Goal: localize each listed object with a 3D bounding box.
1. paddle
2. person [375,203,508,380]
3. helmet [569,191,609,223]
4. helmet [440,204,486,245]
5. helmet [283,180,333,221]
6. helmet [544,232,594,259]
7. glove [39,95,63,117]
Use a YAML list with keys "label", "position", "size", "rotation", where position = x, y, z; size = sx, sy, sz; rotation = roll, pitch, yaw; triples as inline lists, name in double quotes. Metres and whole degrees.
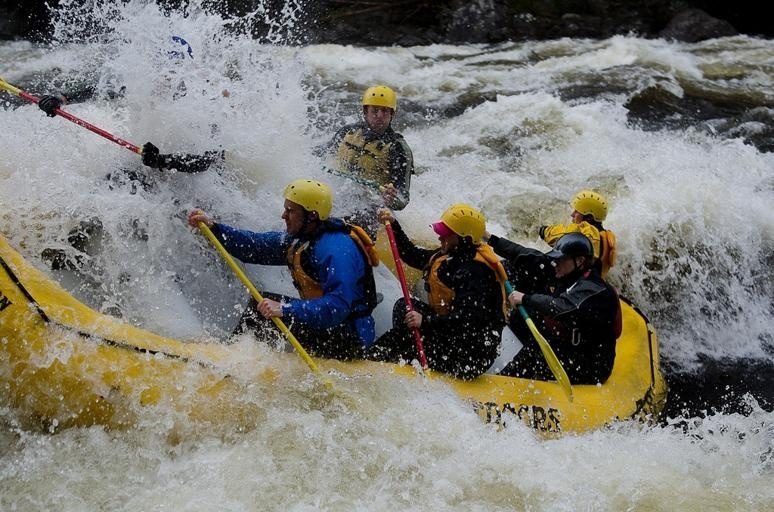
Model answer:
- label: "paddle"
  position: [1.356, 0.731, 8.118]
  size: [0.086, 0.193, 1.598]
  rotation: [11, 39, -36]
- label: "person"
  position: [0.468, 0.387, 8.259]
  size: [1.233, 1.819, 0.905]
  rotation: [6, 20, 3]
- label: "helmet"
  position: [1.975, -0.484, 8.704]
  size: [0.316, 0.272, 0.243]
  rotation: [-6, 21, 8]
- label: "helmet"
  position: [0.706, -0.271, 8.064]
  size: [0.359, 0.312, 0.285]
  rotation: [8, 26, -14]
- label: "helmet"
  position: [-0.706, -0.521, 7.939]
  size: [0.459, 0.380, 0.347]
  rotation: [-8, 26, -38]
- label: "helmet"
  position: [1.659, -0.089, 7.983]
  size: [0.302, 0.181, 0.226]
  rotation: [4, 9, 7]
- label: "glove"
  position: [-3.189, -1.431, 8.509]
  size: [0.172, 0.213, 0.078]
  rotation: [-3, 13, -13]
